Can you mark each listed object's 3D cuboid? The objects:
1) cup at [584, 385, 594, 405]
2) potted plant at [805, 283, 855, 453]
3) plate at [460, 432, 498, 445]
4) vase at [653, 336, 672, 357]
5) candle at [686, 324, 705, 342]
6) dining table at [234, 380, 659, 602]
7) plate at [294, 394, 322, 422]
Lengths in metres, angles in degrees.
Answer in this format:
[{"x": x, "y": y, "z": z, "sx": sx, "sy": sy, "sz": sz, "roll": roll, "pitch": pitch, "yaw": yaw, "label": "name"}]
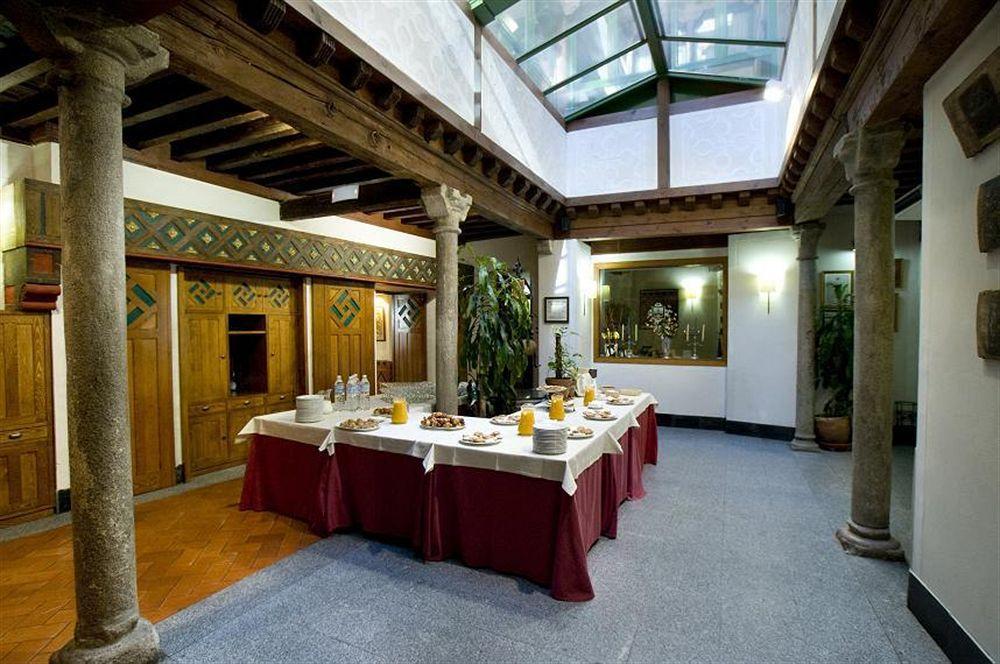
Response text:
[{"x": 1.027, "y": 0.724, "z": 7.189, "sx": 0.131, "sy": 0.188, "sz": 0.182, "roll": 0, "pitch": -13, "yaw": 5, "label": "cup"}, {"x": 4.610, "y": 0.371, "z": 8.645, "sx": 0.465, "sy": 2.438, "sz": 0.883, "roll": 0, "pitch": 0, "yaw": 29, "label": "potted plant"}, {"x": -0.163, "y": 0.928, "z": 5.447, "sx": 0.342, "sy": 0.085, "sz": 0.214, "roll": 0, "pitch": -1, "yaw": -5, "label": "plate"}, {"x": 2.624, "y": 0.243, "z": 10.029, "sx": 0.263, "sy": 0.490, "sz": 0.293, "roll": 1, "pitch": 0, "yaw": 20, "label": "vase"}, {"x": 3.097, "y": 0.021, "z": 9.858, "sx": 0.037, "sy": 0.294, "sz": 0.256, "roll": 2, "pitch": -3, "yaw": -40, "label": "candle"}, {"x": -0.608, "y": 1.503, "z": 5.991, "sx": 3.558, "sy": 1.371, "sz": 1.639, "roll": -1, "pitch": -1, "yaw": 11, "label": "dining table"}, {"x": -1.865, "y": 0.764, "z": 6.221, "sx": 0.198, "sy": 0.208, "sz": 0.269, "roll": 0, "pitch": -5, "yaw": 3, "label": "plate"}]
